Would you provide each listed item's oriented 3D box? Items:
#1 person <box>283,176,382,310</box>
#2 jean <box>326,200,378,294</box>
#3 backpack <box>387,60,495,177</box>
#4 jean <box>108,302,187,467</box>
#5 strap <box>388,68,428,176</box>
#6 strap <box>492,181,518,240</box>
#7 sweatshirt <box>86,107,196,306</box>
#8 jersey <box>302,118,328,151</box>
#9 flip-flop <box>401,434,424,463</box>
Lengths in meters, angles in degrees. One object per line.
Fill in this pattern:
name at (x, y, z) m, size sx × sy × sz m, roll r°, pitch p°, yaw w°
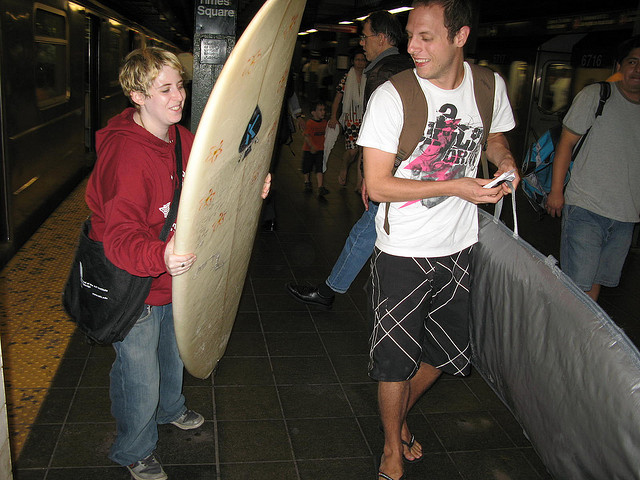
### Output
person at (0.083, 0.040, 4.620) m, size 0.696 × 1.645 × 0.439 m, roll 26°, pitch 47°, yaw -2°
jean at (0.273, 0.059, 3.470) m, size 0.211 × 0.864 × 0.260 m, roll 24°, pitch 38°, yaw -4°
backpack at (0.522, -0.530, 1.930) m, size 0.412 × 0.496 × 0.339 m, roll -7°, pitch 32°, yaw -6°
jean at (-0.811, 0.678, 2.069) m, size 0.226 × 0.956 × 0.444 m, roll 17°, pitch 39°, yaw 4°
strap at (0.373, -0.507, 1.923) m, size 0.133 × 0.429 × 0.147 m, roll -8°, pitch 24°, yaw -23°
strap at (0.853, -0.135, 2.039) m, size 0.139 × 0.270 × 0.062 m, roll 0°, pitch 1°, yaw 43°
sweatshirt at (-0.696, -0.106, 1.710) m, size 0.274 × 0.395 × 0.762 m, roll 6°, pitch 31°, yaw -11°
jersey at (-0.079, -1.765, 7.440) m, size 0.499 × 0.509 × 0.283 m, roll 8°, pitch 27°, yaw -21°
flip-flop at (0.515, 1.147, 2.433) m, size 0.132 × 0.108 × 0.118 m, roll 5°, pitch 23°, yaw 6°
